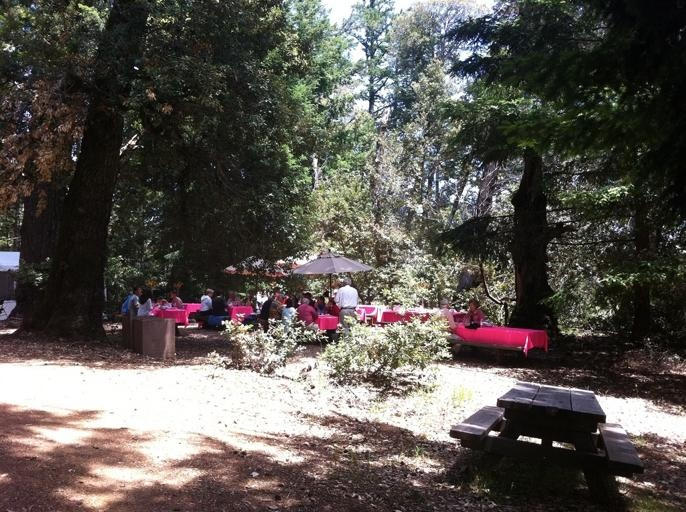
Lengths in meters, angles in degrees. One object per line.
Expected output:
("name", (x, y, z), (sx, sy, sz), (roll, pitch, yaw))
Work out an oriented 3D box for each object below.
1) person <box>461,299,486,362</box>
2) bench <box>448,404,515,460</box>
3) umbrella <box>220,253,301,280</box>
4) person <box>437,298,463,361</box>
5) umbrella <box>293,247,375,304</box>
("person", (3.358, 1.757, 15.684), (0.501, 1.175, 0.610), (3, -8, 20))
("bench", (1.784, 2.315, 7.960), (0.430, 0.253, 1.193), (7, 3, 28))
("umbrella", (-3.223, 0.420, 23.058), (2.127, 0.888, 3.572), (5, 3, 6))
("person", (2.806, 1.893, 15.700), (0.580, 1.460, 1.997), (5, 3, 11))
("umbrella", (-0.459, 0.913, 24.472), (2.265, 1.233, 2.314), (-3, -7, -2))
